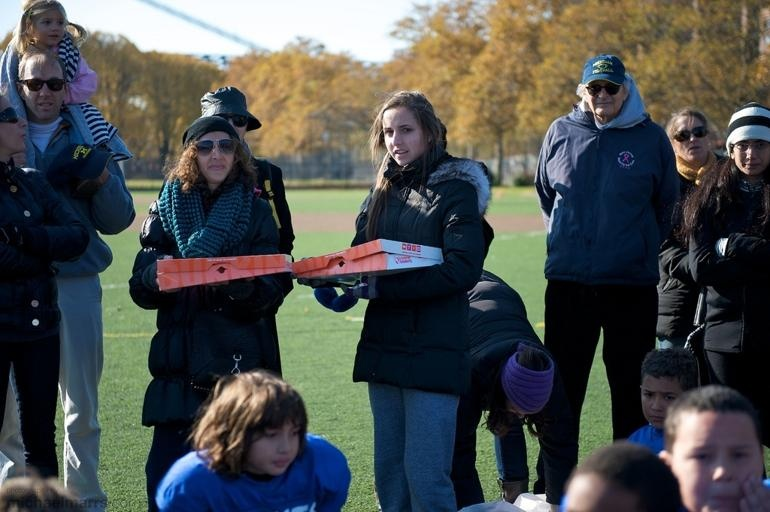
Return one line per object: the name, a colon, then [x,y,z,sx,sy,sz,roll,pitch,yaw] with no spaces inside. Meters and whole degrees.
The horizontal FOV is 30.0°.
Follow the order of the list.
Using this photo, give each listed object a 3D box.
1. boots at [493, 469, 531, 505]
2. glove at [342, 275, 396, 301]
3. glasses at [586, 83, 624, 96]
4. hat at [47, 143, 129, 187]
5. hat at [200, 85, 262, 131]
boots: [1.162,2.088,12.963,0.245,0.187,0.202,1,-13,-6]
glove: [-0.159,0.262,12.144,0.272,0.236,0.366,-2,4,-30]
glasses: [1.989,-1.507,13.078,0.171,0.049,0.159,-2,-25,14]
hat: [-2.651,-0.762,12.499,0.532,0.313,0.183,-10,-45,35]
hat: [-1.383,-1.305,12.937,0.493,0.234,0.398,-4,6,-19]
